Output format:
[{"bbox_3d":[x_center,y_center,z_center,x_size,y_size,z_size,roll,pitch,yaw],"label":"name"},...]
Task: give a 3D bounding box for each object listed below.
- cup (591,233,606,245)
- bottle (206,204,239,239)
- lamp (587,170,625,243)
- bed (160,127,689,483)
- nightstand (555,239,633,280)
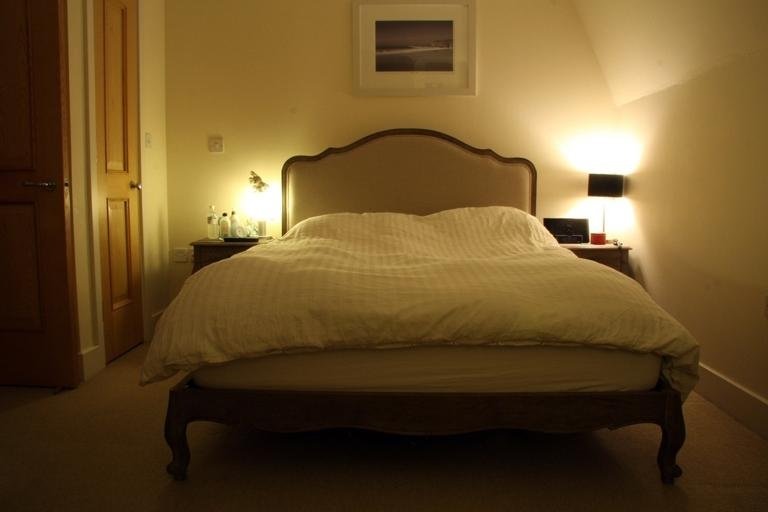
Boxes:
[{"bbox_3d":[1.697,-0.134,4.717,0.132,0.105,0.078,0,3,9],"label":"cup"},{"bbox_3d":[-1.323,-0.280,4.878,0.290,0.337,0.118,-1,-1,-1],"label":"bottle"},{"bbox_3d":[1.788,-0.382,4.854,0.334,0.534,0.336,3,3,-1],"label":"lamp"},{"bbox_3d":[0.207,0.541,4.312,2.464,1.624,2.568,0,5,-1],"label":"bed"},{"bbox_3d":[1.694,-0.015,4.717,0.442,0.428,0.290,0,10,4],"label":"nightstand"}]
